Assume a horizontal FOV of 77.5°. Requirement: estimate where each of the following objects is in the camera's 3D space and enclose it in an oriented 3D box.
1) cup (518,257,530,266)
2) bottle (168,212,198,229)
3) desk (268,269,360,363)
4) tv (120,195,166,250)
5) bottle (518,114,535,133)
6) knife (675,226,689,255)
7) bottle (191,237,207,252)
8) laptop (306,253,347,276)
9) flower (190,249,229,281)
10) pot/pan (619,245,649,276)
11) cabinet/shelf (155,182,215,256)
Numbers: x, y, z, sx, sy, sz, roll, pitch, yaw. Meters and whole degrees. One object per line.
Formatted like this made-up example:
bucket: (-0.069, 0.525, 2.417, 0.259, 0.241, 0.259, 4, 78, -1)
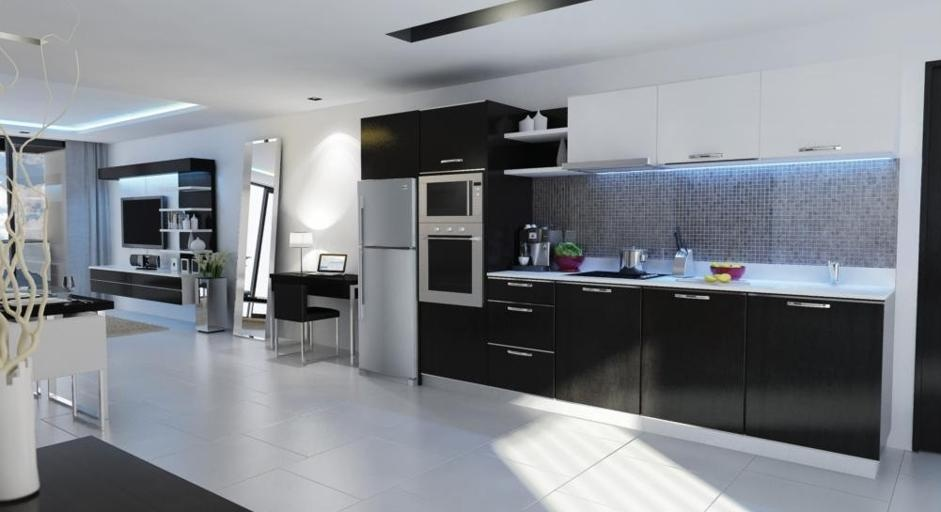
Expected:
cup: (0.654, 0.067, 7.049, 0.119, 0.070, 0.111, 1, -2, 0)
bottle: (-5.202, -0.627, 10.569, 0.551, 0.339, 0.374, 2, 1, 27)
desk: (-2.205, 0.867, 8.432, 1.507, 0.832, 0.490, 0, 1, 43)
tv: (-6.277, -0.650, 11.283, 1.270, 0.786, 0.170, -1, -2, 37)
bottle: (0.690, -1.577, 7.057, 0.223, 0.208, 0.223, -5, 10, -43)
knife: (2.345, -0.157, 6.526, 0.109, 0.344, 0.093, 5, -26, -17)
bottle: (-4.803, -0.195, 10.260, 0.243, 0.201, 0.239, -1, -6, 37)
laptop: (-2.048, 0.115, 8.620, 0.490, 0.262, 0.318, 0, -5, 17)
flower: (-4.532, 0.151, 10.053, 0.521, 0.502, 0.578, 4, 3, 42)
pot/pan: (1.851, 0.070, 6.613, 0.328, 0.262, 0.290, 2, 1, 29)
cabinet/shelf: (-5.093, -0.669, 10.537, 1.576, 1.239, 0.526, -2, -3, 42)
